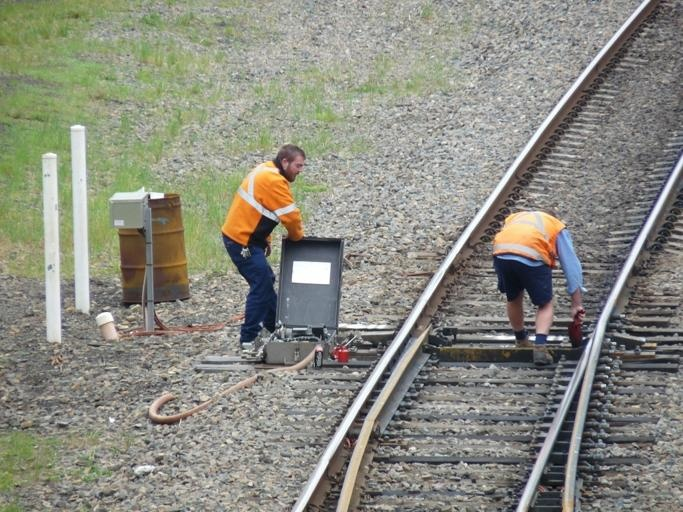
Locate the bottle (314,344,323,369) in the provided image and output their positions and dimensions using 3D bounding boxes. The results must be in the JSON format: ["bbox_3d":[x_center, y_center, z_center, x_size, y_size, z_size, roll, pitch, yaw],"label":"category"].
[{"bbox_3d":[-0.274,1.265,17.863,0.118,0.273,0.076,-3,11,-11],"label":"bottle"}]

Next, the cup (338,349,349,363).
[{"bbox_3d":[0.042,1.263,17.926,0.150,0.137,0.145,0,0,0],"label":"cup"}]

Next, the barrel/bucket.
[{"bbox_3d":[-2.642,-0.110,20.321,1.021,1.390,0.977,-3,5,0],"label":"barrel/bucket"}]

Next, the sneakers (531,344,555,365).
[{"bbox_3d":[2.451,1.233,17.638,0.159,0.198,0.311,2,6,32],"label":"sneakers"}]

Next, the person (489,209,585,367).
[{"bbox_3d":[2.420,0.382,17.742,1.105,1.874,0.620,0,11,7],"label":"person"}]
